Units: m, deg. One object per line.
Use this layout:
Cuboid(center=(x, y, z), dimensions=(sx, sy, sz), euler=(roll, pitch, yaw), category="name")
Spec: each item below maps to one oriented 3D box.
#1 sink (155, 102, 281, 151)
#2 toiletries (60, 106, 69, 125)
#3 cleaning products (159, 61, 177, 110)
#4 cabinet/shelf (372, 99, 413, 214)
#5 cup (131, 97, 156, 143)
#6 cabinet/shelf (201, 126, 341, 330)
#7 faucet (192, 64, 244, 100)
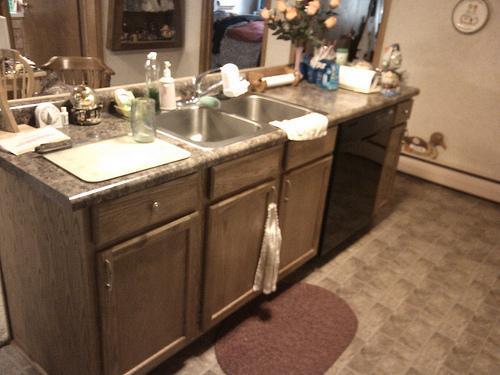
Cuboid(center=(-0.160, -0.293, 2.109), dimensions=(0.405, 0.154, 0.339), euler=(29, 41, 33), category="sink")
Cuboid(center=(-0.858, -0.331, 1.874), dimensions=(0.030, 0.078, 0.035), euler=(-6, 31, -20), category="toiletries")
Cuboid(center=(-0.432, -0.514, 2.116), dimensions=(0.077, 0.204, 0.092), euler=(-3, 30, -14), category="cleaning products")
Cuboid(center=(1.016, -0.202, 3.035), dimensions=(0.133, 0.851, 0.541), euler=(19, 32, 24), category="cabinet/shelf")
Cuboid(center=(-0.463, -0.291, 1.761), dimensions=(0.101, 0.181, 0.066), euler=(-4, 30, -16), category="cup")
Cuboid(center=(-0.006, 0.124, 2.345), dimensions=(0.532, 1.002, 1.071), euler=(26, 32, 34), category="cabinet/shelf")
Cuboid(center=(-0.183, -0.582, 2.286), dimensions=(0.345, 0.174, 0.110), euler=(-14, 18, -34), category="faucet")
